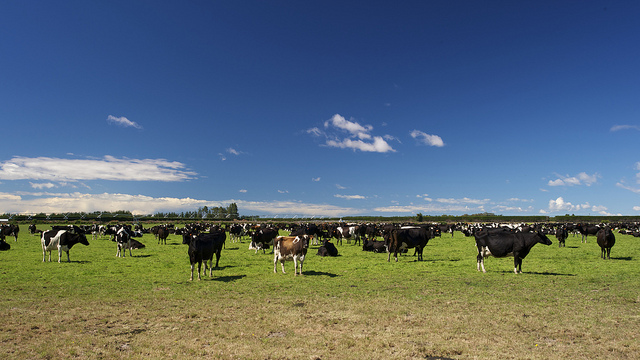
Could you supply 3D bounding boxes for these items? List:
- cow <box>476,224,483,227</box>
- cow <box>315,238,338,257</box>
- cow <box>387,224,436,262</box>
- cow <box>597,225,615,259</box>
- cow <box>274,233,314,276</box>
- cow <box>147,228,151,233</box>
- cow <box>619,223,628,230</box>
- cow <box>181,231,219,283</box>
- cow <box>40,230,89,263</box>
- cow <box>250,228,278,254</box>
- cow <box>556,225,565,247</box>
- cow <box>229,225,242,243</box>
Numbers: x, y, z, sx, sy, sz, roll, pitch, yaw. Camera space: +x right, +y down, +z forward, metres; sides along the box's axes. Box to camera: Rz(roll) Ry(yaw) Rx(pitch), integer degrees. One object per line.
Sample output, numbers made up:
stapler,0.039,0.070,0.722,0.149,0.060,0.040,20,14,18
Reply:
cow,36.153,10.331,85.526,2.158,0.437,2.048,0,-2,26
cow,0.902,7.187,38.732,1.442,1.038,2.085,-4,-22,15
cow,9.018,6.099,36.228,6.062,2.920,1.985,3,-10,-26
cow,27.934,6.135,36.773,1.254,2.960,2.742,-9,-12,33
cow,-2.053,5.967,30.028,1.584,2.919,4.830,10,-15,-33
cow,-28.920,8.540,63.296,0.441,0.906,0.766,-3,-6,27
cow,64.670,9.873,80.400,1.151,0.917,10.386,-9,-12,37
cow,-9.096,5.886,28.725,2.146,3.541,2.745,-1,-10,-5
cow,-23.635,6.009,34.337,3.193,2.915,1.734,-4,-10,11
cow,-6.138,6.775,41.501,1.528,2.404,5.169,-10,-11,21
cow,29.305,6.973,45.738,0.891,2.225,2.712,-8,-11,30
cow,-11.380,7.280,50.401,1.073,2.166,1.886,-5,-10,15
